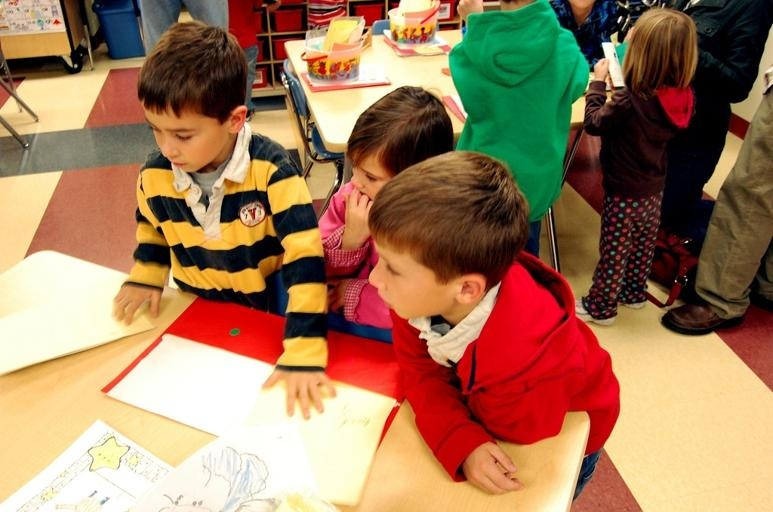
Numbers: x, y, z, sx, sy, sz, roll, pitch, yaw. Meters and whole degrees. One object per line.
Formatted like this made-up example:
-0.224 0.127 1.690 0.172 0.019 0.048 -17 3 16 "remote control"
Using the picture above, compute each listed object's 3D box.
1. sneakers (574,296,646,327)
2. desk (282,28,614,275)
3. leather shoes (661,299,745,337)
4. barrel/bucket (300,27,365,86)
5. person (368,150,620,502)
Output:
1.050 0.263 2.609 0.324 0.132 0.114 -11 44 -14 "sneakers"
0.050 -0.357 3.315 1.169 0.412 1.799 -3 47 -15 "desk"
1.465 0.305 2.630 0.353 0.144 0.166 -4 33 -4 "leather shoes"
-0.272 -0.986 2.773 0.273 0.174 0.271 -1 30 1 "barrel/bucket"
0.260 0.155 1.331 0.500 0.708 0.504 -23 41 -26 "person"
